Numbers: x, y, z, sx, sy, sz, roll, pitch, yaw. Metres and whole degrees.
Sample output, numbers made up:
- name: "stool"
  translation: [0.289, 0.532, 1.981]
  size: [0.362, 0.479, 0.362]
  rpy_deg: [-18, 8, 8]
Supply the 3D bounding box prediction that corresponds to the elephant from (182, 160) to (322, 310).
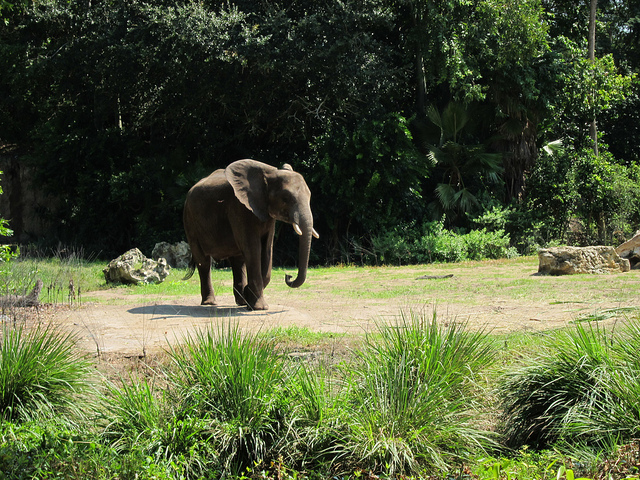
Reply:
- name: "elephant"
  translation: [-1.498, 0.013, 14.950]
  size: [2.847, 2.741, 1.583]
  rpy_deg: [-4, -2, 28]
